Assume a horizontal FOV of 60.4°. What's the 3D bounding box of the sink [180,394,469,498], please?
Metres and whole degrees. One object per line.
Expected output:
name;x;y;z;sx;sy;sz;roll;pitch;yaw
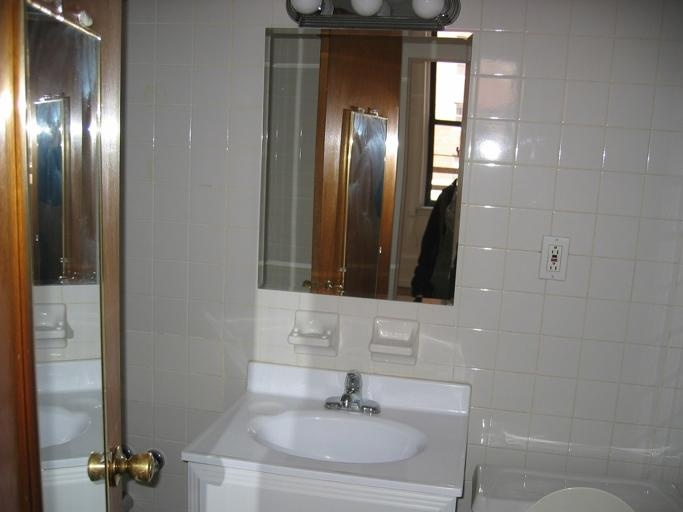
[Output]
sink;-0.020;0.616;1.839;0.800;0.187;0.513;5;6;14

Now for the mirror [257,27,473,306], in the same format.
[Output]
mirror;0.099;-0.338;2.091;0.789;1.191;0.042;2;4;6
